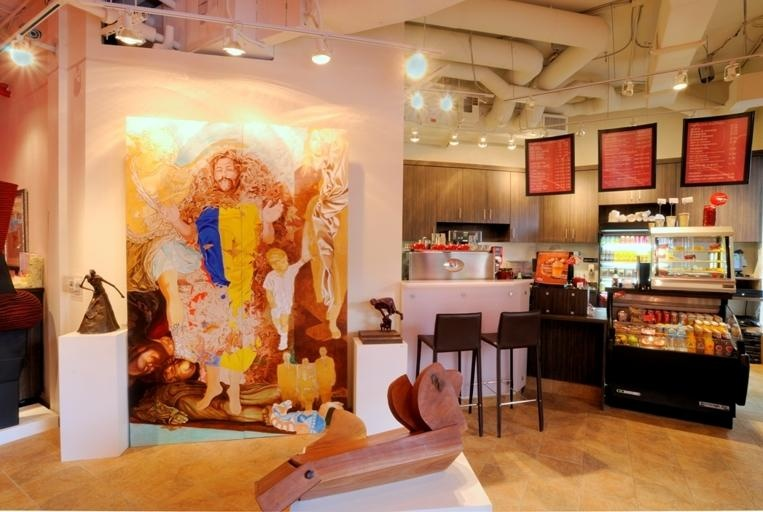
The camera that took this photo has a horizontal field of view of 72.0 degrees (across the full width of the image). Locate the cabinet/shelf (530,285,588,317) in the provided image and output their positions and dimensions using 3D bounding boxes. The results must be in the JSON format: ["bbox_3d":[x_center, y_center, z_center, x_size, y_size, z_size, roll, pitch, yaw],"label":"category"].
[{"bbox_3d":[2.336,0.581,6.930,0.757,0.341,0.414,0,-2,31],"label":"cabinet/shelf"}]

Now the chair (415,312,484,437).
[{"bbox_3d":[0.996,1.276,5.789,0.736,1.221,0.769,6,-19,-27],"label":"chair"}]

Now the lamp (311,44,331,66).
[{"bbox_3d":[-0.632,-2.118,5.484,0.162,0.184,0.181,1,1,22],"label":"lamp"}]

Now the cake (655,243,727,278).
[{"bbox_3d":[3.987,0.049,6.730,0.787,0.451,0.432,-1,-3,29],"label":"cake"}]

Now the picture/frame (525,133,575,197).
[{"bbox_3d":[2.432,-1.316,7.597,0.666,0.819,0.177,1,1,28],"label":"picture/frame"}]

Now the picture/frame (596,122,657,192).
[{"bbox_3d":[3.380,-1.346,7.226,0.826,0.883,0.039,-8,17,-3],"label":"picture/frame"}]

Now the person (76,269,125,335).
[{"bbox_3d":[-3.112,0.496,5.802,0.431,0.682,0.479,0,1,-24],"label":"person"}]

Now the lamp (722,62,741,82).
[{"bbox_3d":[4.186,-2.217,6.258,0.260,0.242,0.109,0,1,-44],"label":"lamp"}]

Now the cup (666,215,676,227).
[{"bbox_3d":[3.819,-0.456,6.983,0.182,0.130,0.179,3,0,0],"label":"cup"}]

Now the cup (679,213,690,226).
[{"bbox_3d":[3.969,-0.469,6.902,0.105,0.181,0.403,1,1,27],"label":"cup"}]

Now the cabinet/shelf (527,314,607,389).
[{"bbox_3d":[2.561,1.304,7.048,0.346,0.893,0.996,17,-13,-41],"label":"cabinet/shelf"}]
